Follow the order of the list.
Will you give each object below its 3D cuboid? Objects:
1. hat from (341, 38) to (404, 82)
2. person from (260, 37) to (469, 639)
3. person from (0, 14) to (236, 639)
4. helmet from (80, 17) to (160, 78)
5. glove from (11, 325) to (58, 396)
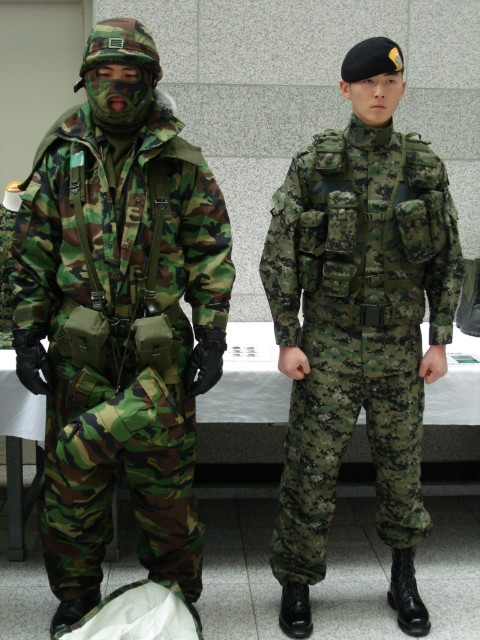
[{"bbox_3d":[0.343,-0.665,1.735,0.155,0.052,0.122,-2,25,35],"label":"hat"},{"bbox_3d":[0.342,0.075,1.906,0.500,1.665,0.298,-3,12,-17],"label":"person"},{"bbox_3d":[-0.299,0.055,1.731,0.410,1.612,0.450,9,14,36],"label":"person"},{"bbox_3d":[-0.290,-0.648,1.585,0.185,0.128,0.207,4,16,7],"label":"helmet"},{"bbox_3d":[-0.507,0.102,1.704,0.132,0.148,0.063,9,19,30],"label":"glove"}]
